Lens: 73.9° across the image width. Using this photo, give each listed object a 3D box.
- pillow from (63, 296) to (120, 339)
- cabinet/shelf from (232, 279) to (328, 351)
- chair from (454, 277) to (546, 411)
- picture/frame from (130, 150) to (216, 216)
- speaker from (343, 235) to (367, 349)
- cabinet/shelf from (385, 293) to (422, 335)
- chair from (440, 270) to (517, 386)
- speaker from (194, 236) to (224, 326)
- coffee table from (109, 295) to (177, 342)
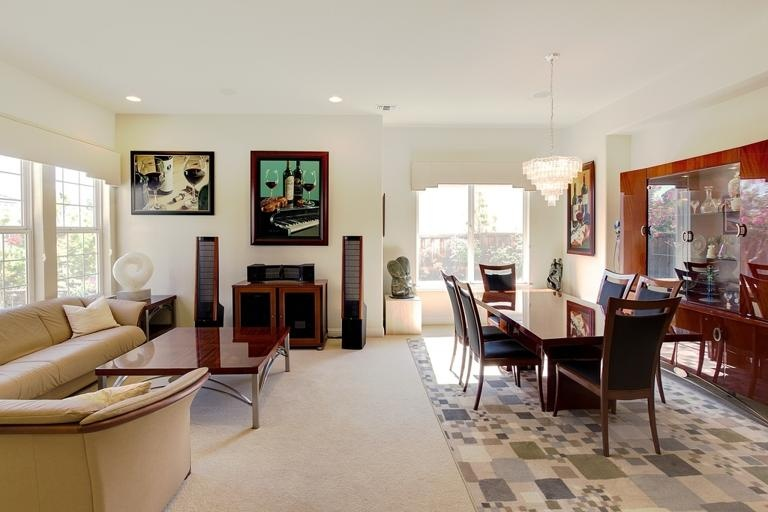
[{"bbox_3d":[-3.531,0.723,6.139,0.232,0.379,0.533,6,14,25],"label":"pillow"},{"bbox_3d":[-1.465,0.803,7.439,1.272,0.934,0.721,1,7,2],"label":"cabinet/shelf"},{"bbox_3d":[1.279,0.975,5.775,0.934,1.211,0.778,1,-1,3],"label":"chair"},{"bbox_3d":[-3.131,-1.092,7.412,0.986,0.764,0.033,0,4,-4],"label":"picture/frame"},{"bbox_3d":[-0.450,0.502,7.156,0.317,1.576,0.233,-2,3,-8],"label":"speaker"},{"bbox_3d":[0.292,0.927,7.980,0.546,0.514,0.541,0,-2,-3],"label":"cabinet/shelf"},{"bbox_3d":[1.202,0.852,6.061,0.899,1.319,0.729,-4,17,-15],"label":"chair"},{"bbox_3d":[-2.497,0.347,7.175,0.325,1.247,0.134,-1,3,10],"label":"speaker"},{"bbox_3d":[-3.288,0.823,7.088,0.633,0.774,0.827,2,3,5],"label":"coffee table"}]
